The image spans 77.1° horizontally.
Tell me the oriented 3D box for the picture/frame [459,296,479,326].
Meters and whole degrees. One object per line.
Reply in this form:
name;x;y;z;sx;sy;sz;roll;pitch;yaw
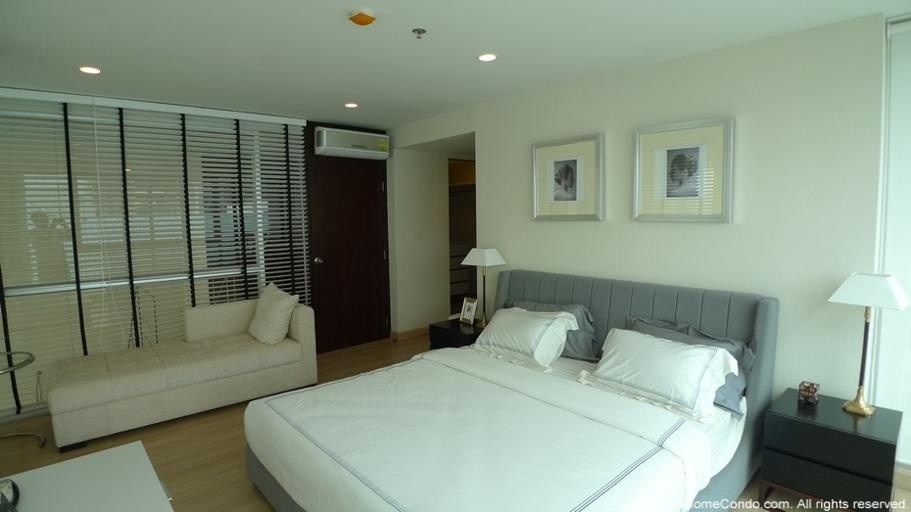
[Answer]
picture/frame;0.173;0.672;6.946;0.068;0.352;0.318;14;-2;-38

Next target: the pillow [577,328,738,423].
pillow;1.834;1.007;5.282;1.319;0.434;0.776;13;33;42

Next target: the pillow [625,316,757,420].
pillow;2.223;1.042;5.255;0.849;0.788;0.223;11;-16;43

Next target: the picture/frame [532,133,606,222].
picture/frame;1.270;-0.869;6.218;1.129;1.014;0.083;1;5;36

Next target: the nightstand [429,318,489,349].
nightstand;0.031;0.895;6.617;0.436;0.245;0.439;4;8;33

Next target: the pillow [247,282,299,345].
pillow;-2.193;0.699;6.800;0.417;0.592;0.733;-8;16;-39

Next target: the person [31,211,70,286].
person;-4.446;-0.095;6.254;0.312;0.760;0.103;-4;8;-32

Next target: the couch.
couch;-3.009;1.119;6.447;2.609;1.121;0.968;-8;17;-36
